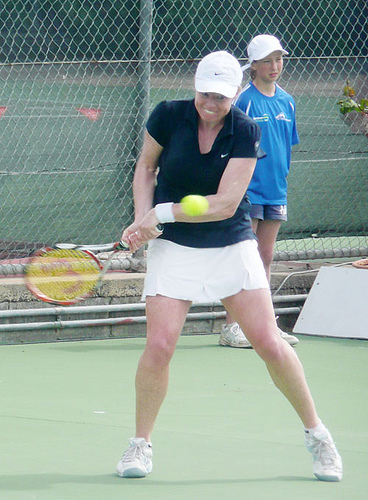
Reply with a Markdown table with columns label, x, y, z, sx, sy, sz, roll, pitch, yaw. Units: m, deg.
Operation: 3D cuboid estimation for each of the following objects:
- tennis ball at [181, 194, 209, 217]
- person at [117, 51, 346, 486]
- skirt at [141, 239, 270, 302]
| label | x | y | z | sx | sy | sz | roll | pitch | yaw |
| --- | --- | --- | --- | --- | --- | --- | --- | --- | --- |
| tennis ball | 0.033 | -0.128 | 1.937 | 0.071 | 0.069 | 0.070 | 3 | 9 | 0 |
| person | 0.165 | 0.043 | 2.110 | 0.749 | 1.322 | 0.441 | 2 | 4 | 13 |
| skirt | 0.048 | 0.072 | 2.148 | 0.408 | 0.180 | 0.200 | 4 | 2 | -19 |
